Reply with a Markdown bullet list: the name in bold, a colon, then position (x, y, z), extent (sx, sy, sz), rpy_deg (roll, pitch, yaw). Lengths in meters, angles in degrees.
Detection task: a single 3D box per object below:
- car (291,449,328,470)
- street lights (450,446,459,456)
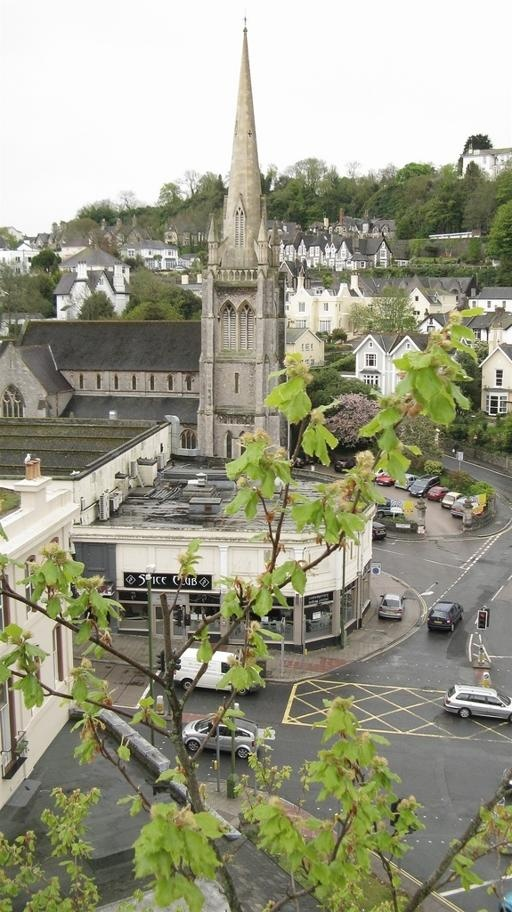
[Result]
- **car**: position (3.317, 0.119, 78.778), extent (1.133, 0.989, 2.674), rpy_deg (2, 8, 14)
- **street lights**: position (15.378, -0.377, 89.079), extent (0.527, 1.154, 0.578), rpy_deg (1, -4, -15)
